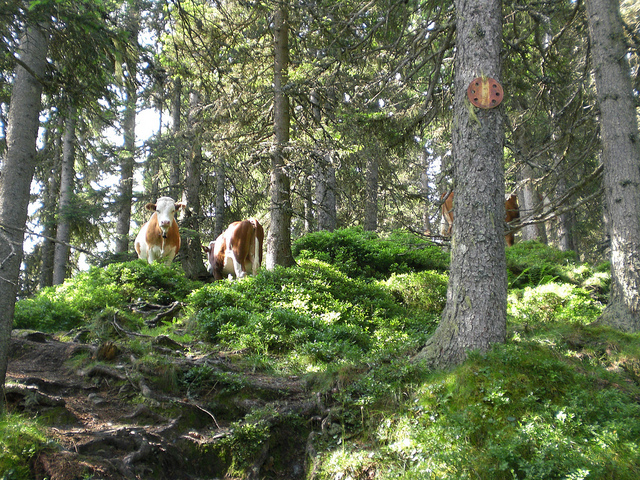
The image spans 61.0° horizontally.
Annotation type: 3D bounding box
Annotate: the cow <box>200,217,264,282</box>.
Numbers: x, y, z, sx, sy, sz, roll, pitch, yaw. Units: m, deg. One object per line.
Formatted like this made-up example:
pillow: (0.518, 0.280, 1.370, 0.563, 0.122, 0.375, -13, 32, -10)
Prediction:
cow: (-2.939, 0.594, 17.365, 0.974, 1.745, 2.885, 9, -25, -32)

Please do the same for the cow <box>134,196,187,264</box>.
cow: (-5.121, -0.064, 17.315, 0.889, 1.557, 2.752, 3, -38, -23)
